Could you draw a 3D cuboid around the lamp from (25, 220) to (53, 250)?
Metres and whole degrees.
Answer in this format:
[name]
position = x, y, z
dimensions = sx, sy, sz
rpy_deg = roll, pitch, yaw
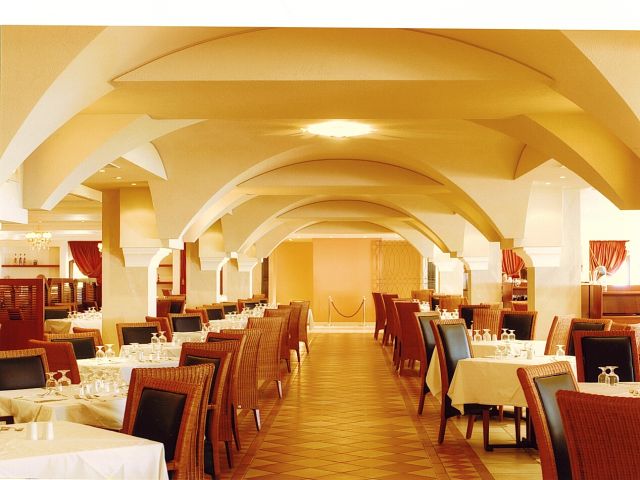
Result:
[lamp]
position = -10.070, -0.238, 18.584
dimensions = 0.822, 1.204, 0.836
rpy_deg = -6, -15, 3
